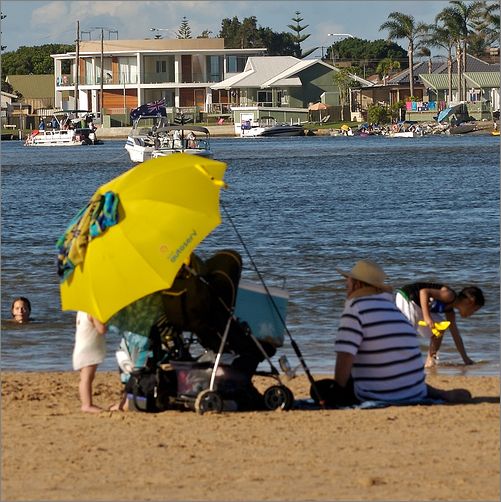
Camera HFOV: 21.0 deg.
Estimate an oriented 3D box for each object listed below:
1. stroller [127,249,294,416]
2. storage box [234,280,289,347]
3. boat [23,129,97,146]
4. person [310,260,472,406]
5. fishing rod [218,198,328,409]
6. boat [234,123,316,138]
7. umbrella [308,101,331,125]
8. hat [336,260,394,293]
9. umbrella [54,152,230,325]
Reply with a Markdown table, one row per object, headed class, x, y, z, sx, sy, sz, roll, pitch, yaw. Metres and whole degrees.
| class | x | y | z | sx | sy | sz | roll | pitch | yaw |
| --- | --- | --- | --- | --- | --- | --- | --- | --- | --- |
| stroller | -0.252 | 0.604 | 9.640 | 1.259 | 1.479 | 0.937 | -5 | 8 | -22 |
| storage box | 0.076 | 0.465 | 9.956 | 0.290 | 0.367 | 0.538 | 6 | -5 | -9 |
| boat | -10.947 | -6.534 | 77.728 | 3.763 | 1.056 | 2.473 | 0 | 7 | 3 |
| person | 0.867 | 0.612 | 9.787 | 0.805 | 1.091 | 0.454 | -1 | 7 | 2 |
| fishing rod | 0.245 | 0.469 | 13.665 | 0.105 | 2.660 | 0.202 | -19 | -31 | -28 |
| boat | 1.420 | -8.056 | 90.611 | 4.341 | 0.954 | 3.174 | -3 | 7 | -15 |
| umbrella | 4.929 | -10.195 | 99.149 | 1.347 | 1.332 | 1.377 | -1 | 1 | -1 |
| hat | 0.833 | 0.181 | 9.793 | 0.365 | 0.245 | 0.313 | 0 | 7 | 4 |
| umbrella | -0.750 | -0.096 | 9.263 | 1.155 | 1.111 | 0.579 | -2 | 7 | -8 |
